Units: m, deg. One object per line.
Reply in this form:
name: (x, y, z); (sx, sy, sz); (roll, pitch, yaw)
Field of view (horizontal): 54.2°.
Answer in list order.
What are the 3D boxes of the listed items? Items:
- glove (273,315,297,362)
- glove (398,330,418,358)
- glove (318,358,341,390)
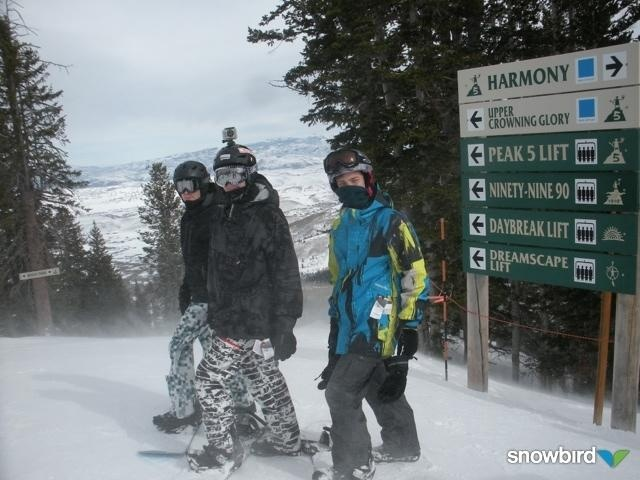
glove: (-0.498, 1.346, 8.556); (0.334, 0.661, 0.277); (2, 6, -4)
glove: (1.160, 1.366, 8.254); (0.255, 0.419, 0.203); (3, 6, 7)
glove: (0.166, 1.840, 8.490); (0.109, 0.458, 0.260); (36, -16, -23)
